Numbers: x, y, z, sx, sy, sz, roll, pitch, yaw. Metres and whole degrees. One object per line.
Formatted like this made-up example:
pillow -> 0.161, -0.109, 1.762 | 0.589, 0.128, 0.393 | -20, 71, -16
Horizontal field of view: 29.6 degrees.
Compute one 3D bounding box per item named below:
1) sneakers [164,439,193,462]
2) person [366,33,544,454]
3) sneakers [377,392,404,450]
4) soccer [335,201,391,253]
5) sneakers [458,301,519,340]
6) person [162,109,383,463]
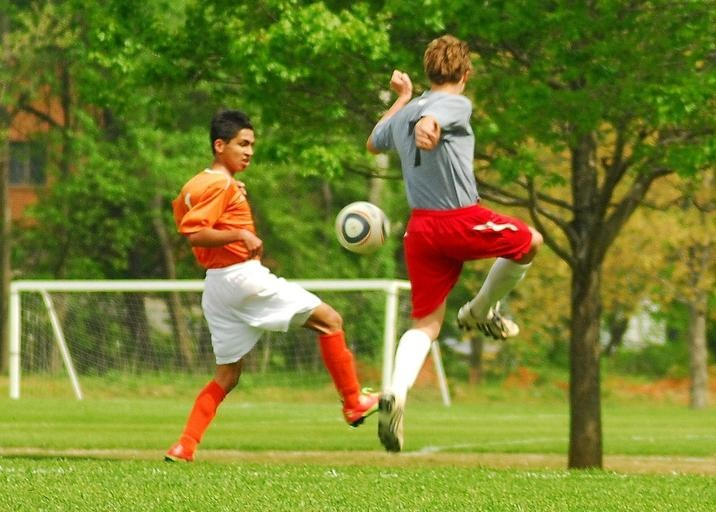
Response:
sneakers -> -1.685, 1.870, 12.728 | 0.134, 0.143, 0.338 | 18, -3, 12
person -> 0.819, -0.143, 12.140 | 1.280, 3.812, 0.920 | 2, -4, -21
sneakers -> 0.270, 1.502, 11.962 | 0.204, 0.527, 0.265 | 2, 11, 17
soccer -> 0.003, -0.240, 12.873 | 0.550, 0.513, 0.547 | -10, -2, -3
sneakers -> 1.216, 0.582, 12.755 | 0.579, 0.261, 0.296 | 7, 26, 11
person -> -0.940, 0.577, 12.742 | 1.656, 2.754, 0.542 | 1, -4, -11
